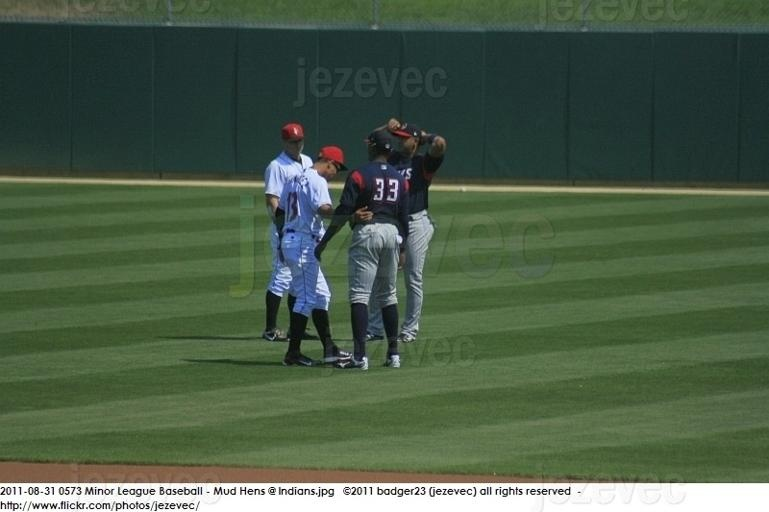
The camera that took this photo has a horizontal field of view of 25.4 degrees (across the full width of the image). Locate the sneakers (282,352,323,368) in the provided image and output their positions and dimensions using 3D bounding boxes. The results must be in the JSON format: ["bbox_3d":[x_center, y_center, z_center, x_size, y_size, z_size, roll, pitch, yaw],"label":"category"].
[{"bbox_3d":[-1.153,1.438,23.879,0.554,0.208,0.212,-1,0,-2],"label":"sneakers"}]

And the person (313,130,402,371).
[{"bbox_3d":[-0.222,-0.100,23.676,1.102,3.285,0.662,-2,15,-10],"label":"person"}]

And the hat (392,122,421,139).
[{"bbox_3d":[0.342,-1.855,24.339,0.291,0.135,0.210,7,4,-1],"label":"hat"}]

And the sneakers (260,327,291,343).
[{"bbox_3d":[-1.593,1.123,24.644,0.384,0.157,0.163,1,6,-4],"label":"sneakers"}]

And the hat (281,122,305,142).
[{"bbox_3d":[-1.342,-1.821,24.543,0.359,0.230,0.456,-9,8,-17],"label":"hat"}]

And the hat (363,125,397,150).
[{"bbox_3d":[-0.100,-1.644,23.751,0.458,0.253,0.348,26,26,36],"label":"hat"}]

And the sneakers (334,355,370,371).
[{"bbox_3d":[-0.451,1.488,23.799,0.498,0.217,0.177,4,-2,6],"label":"sneakers"}]
